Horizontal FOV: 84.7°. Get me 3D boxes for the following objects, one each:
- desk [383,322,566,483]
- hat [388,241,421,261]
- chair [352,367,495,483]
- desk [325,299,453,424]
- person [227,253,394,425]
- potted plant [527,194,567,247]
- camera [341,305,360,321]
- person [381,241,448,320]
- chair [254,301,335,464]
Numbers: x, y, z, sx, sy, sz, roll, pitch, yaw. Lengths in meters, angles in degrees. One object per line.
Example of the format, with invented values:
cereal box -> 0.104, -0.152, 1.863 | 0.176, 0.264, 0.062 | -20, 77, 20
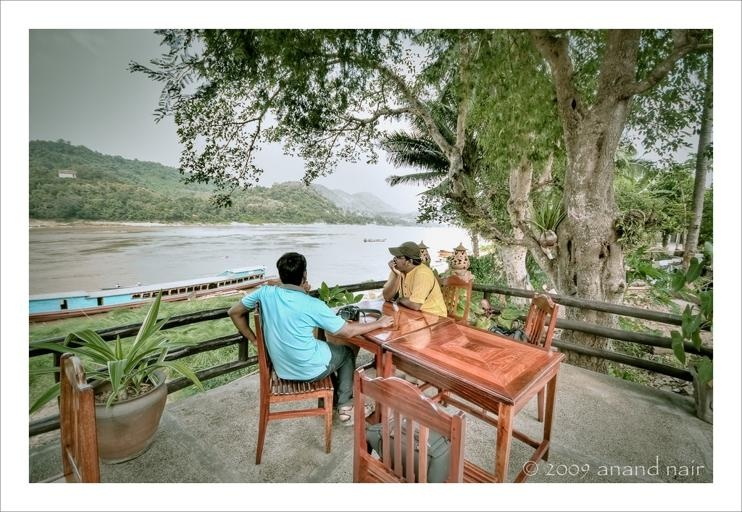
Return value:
desk -> 1.049, 1.572, 4.488 | 1.223, 1.266, 1.521 | -12, 19, -41
hat -> 0.442, -0.075, 5.232 | 0.322, 0.129, 0.214 | 3, 19, 10
chair -> 0.468, 1.505, 3.626 | 0.797, 1.356, 0.793 | 17, 26, 37
desk -> 0.252, 1.152, 4.739 | 0.906, 0.824, 0.887 | -9, 13, -41
person -> -0.736, 0.917, 4.450 | 1.480, 1.929, 0.595 | 0, 6, -20
potted plant -> 3.055, -0.624, 7.100 | 0.633, 0.750, 0.527 | 3, 8, -7
camera -> -0.240, 0.657, 4.702 | 0.167, 0.154, 0.163 | 9, 17, 38
person -> 0.592, 0.566, 5.522 | 0.864, 1.485, 0.667 | -6, 17, -7
chair -> -0.841, 1.422, 4.625 | 1.054, 1.347, 1.069 | 0, 1, 18
